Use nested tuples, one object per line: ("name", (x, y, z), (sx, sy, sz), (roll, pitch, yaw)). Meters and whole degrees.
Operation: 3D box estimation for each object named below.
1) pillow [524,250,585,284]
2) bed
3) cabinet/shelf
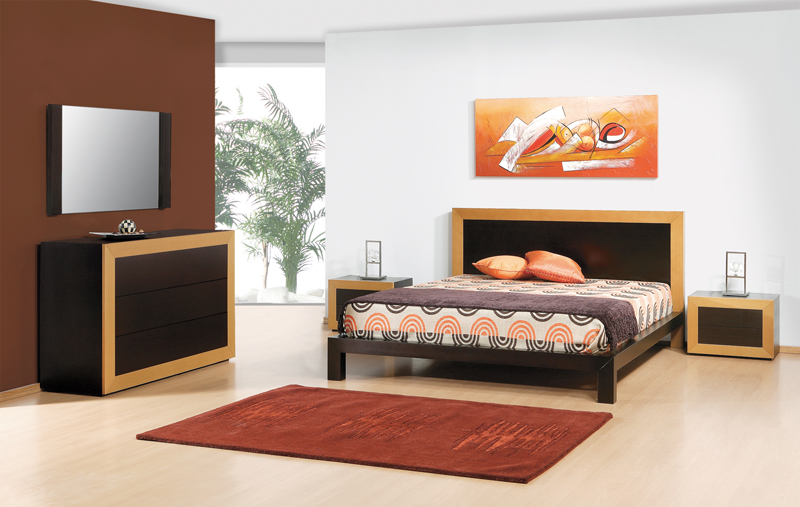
("pillow", (1.589, 0.136, 5.677), (0.451, 0.170, 0.393), (7, 18, -15))
("bed", (1.444, 0.047, 5.093), (2.352, 1.222, 2.433), (-1, -1, 30))
("cabinet/shelf", (-2.370, 0.479, 5.010), (0.705, 1.176, 1.801), (1, 2, 14))
